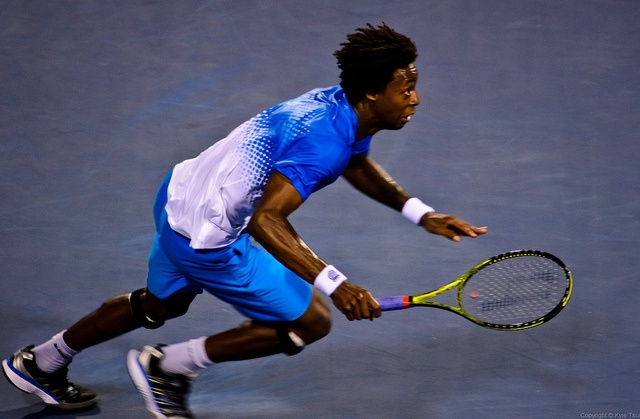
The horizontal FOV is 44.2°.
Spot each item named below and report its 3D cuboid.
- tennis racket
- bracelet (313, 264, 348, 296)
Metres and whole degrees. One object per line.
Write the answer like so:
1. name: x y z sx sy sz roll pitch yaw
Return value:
1. tennis racket: 0.857 0.637 5.686 0.105 2.070 0.520 22 66 -37
2. bracelet: 0.055 0.406 4.494 0.120 0.157 0.127 26 40 25
